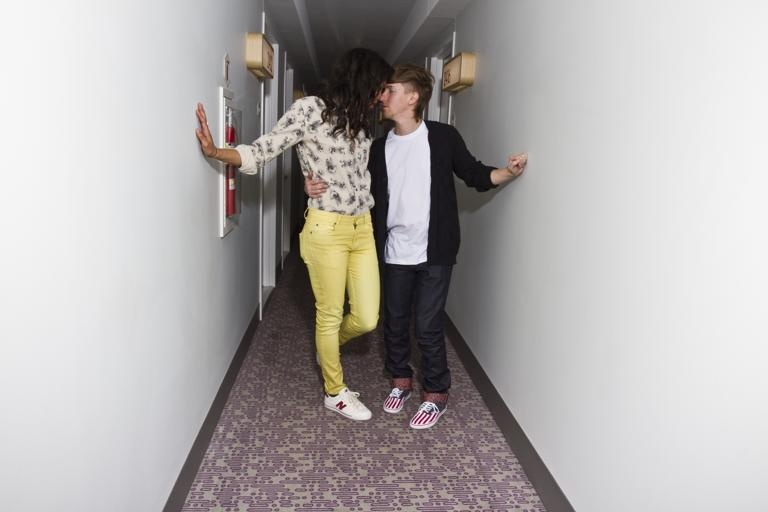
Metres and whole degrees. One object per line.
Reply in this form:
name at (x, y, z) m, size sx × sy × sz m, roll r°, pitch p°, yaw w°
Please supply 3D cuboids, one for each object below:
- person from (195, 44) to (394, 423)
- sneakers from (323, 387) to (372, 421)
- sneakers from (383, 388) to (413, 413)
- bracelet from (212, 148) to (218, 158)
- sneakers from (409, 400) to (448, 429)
person at (-0.376, -0.074, 2.712) m, size 0.845 × 2.026 × 0.346 m, roll -1°, pitch 14°, yaw -16°
sneakers at (-0.203, 0.850, 2.953) m, size 0.322 × 0.138 × 0.128 m, roll 14°, pitch 22°, yaw 15°
sneakers at (0.076, 0.871, 3.003) m, size 0.079 × 0.080 × 0.217 m, roll 2°, pitch 7°, yaw 13°
bracelet at (-0.768, -0.473, 2.284) m, size 0.033 × 0.036 × 0.014 m, roll 8°, pitch 14°, yaw 20°
sneakers at (0.238, 0.913, 2.863) m, size 0.089 × 0.088 × 0.243 m, roll 0°, pitch 3°, yaw 24°
